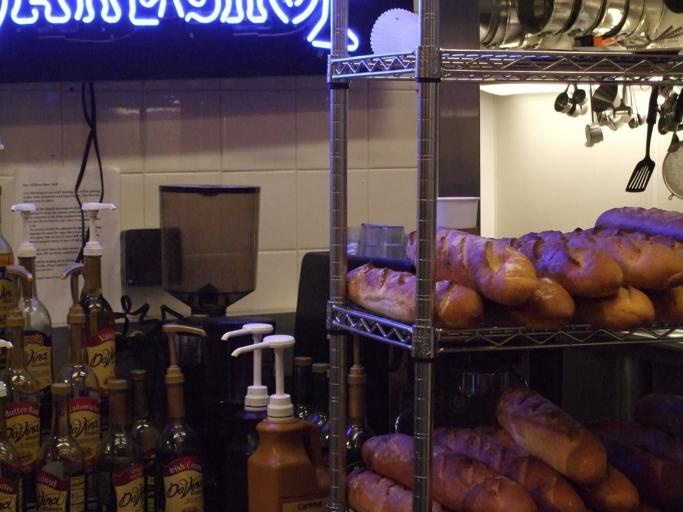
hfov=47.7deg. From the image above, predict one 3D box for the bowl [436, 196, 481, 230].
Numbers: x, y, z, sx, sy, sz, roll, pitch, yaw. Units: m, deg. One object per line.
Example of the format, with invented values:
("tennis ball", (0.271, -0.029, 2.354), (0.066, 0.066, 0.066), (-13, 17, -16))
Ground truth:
("bowl", (0.271, -0.091, 1.772), (0.087, 0.066, 0.074), (0, -1, 32))
